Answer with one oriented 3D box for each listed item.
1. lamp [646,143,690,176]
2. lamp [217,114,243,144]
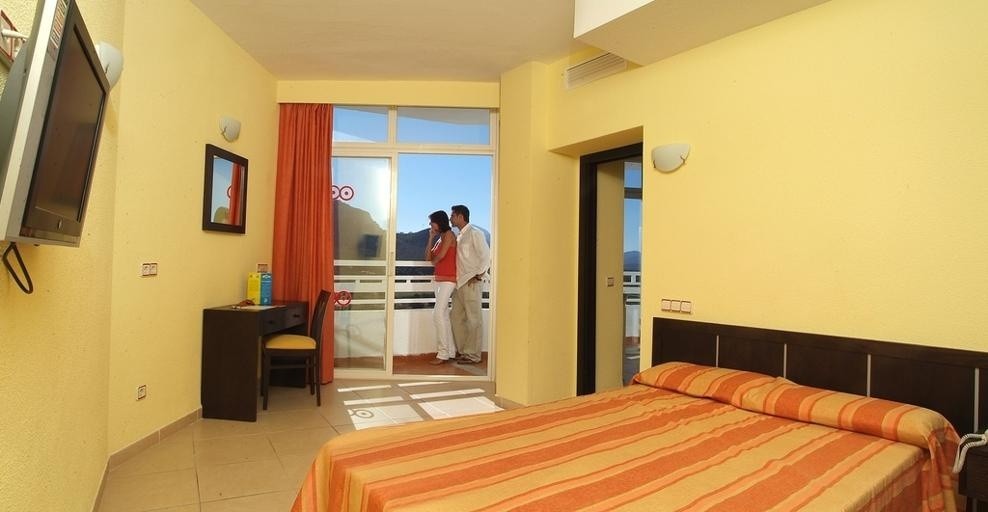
[{"bbox_3d":[1.636,-0.901,5.444,0.382,0.242,0.136,-11,-4,40],"label":"lamp"},{"bbox_3d":[-2.811,-1.370,6.341,0.108,0.276,0.346,5,14,4],"label":"lamp"}]
